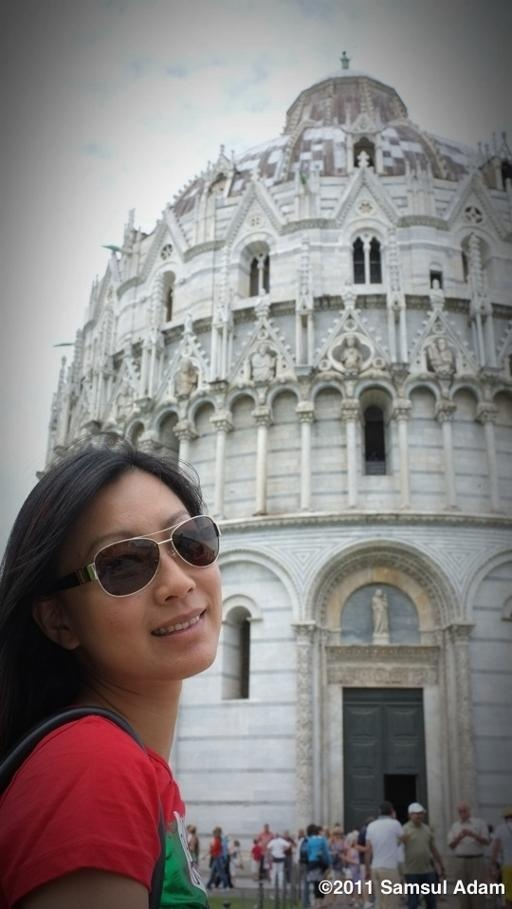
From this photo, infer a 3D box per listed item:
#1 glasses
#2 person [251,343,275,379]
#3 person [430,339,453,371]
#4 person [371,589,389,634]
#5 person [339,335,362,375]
[{"bbox_3d":[-0.208,0.206,1.616,0.188,0.059,0.194,-23,-5,40],"label":"glasses"},{"bbox_3d":[0.182,-2.161,19.177,0.704,1.186,0.349,-7,-46,7],"label":"person"},{"bbox_3d":[4.101,-2.238,18.449,0.527,0.904,0.428,7,-5,7],"label":"person"},{"bbox_3d":[2.609,3.342,17.314,0.404,0.992,0.295,6,-5,10],"label":"person"},{"bbox_3d":[2.158,-2.216,18.537,0.434,0.950,0.564,8,-5,-10],"label":"person"}]
